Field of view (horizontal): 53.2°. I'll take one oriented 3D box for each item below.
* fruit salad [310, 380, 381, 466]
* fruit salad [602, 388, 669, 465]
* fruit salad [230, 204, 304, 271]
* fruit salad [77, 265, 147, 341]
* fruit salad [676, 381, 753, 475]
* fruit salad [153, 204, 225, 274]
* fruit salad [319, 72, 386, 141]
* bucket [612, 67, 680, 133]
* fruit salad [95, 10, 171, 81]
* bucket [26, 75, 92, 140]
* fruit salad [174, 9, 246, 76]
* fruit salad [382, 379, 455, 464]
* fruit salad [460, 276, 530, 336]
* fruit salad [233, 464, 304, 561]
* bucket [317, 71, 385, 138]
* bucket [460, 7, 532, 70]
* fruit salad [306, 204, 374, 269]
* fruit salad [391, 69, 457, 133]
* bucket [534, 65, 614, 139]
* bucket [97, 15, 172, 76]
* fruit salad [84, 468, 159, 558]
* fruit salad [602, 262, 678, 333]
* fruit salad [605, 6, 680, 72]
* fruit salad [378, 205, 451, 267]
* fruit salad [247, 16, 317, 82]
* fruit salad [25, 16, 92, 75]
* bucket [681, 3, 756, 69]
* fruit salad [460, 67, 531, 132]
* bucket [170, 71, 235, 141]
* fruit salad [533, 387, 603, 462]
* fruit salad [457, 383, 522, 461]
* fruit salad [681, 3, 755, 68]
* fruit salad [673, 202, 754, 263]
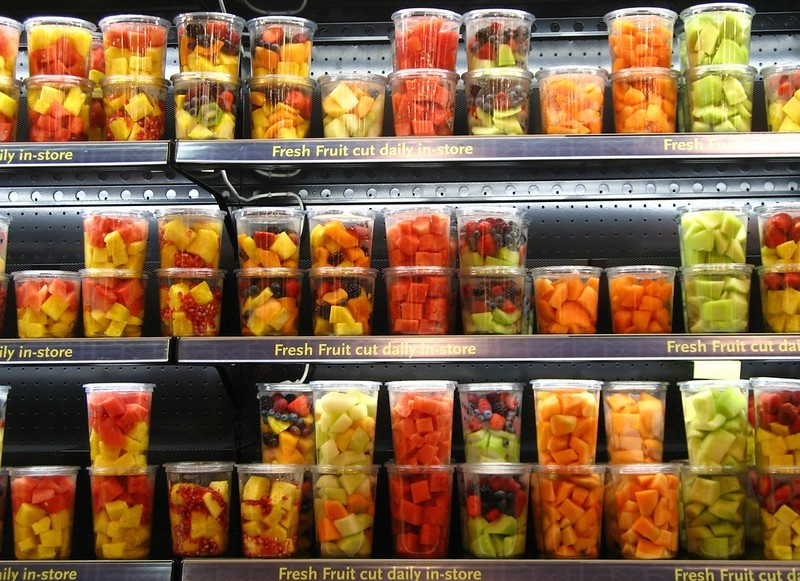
[{"bbox_3d":[-0.181,0.418,2.667,0.267,0.328,0.245,-3,-8,30],"label":"fruit salad"},{"bbox_3d":[0.820,0.454,2.786,0.218,0.311,0.201,0,-4,42],"label":"fruit salad"},{"bbox_3d":[-0.473,-0.179,2.849,0.262,0.220,0.271,-1,1,7],"label":"fruit salad"},{"bbox_3d":[-1.002,0.037,2.738,0.221,0.238,0.215,2,-2,-25],"label":"fruit salad"},{"bbox_3d":[1.066,0.448,2.719,0.254,0.324,0.225,-5,0,3],"label":"fruit salad"},{"bbox_3d":[-0.744,-0.185,2.844,0.244,0.219,0.263,3,3,14],"label":"fruit salad"},{"bbox_3d":[-0.173,-0.631,2.800,0.222,0.181,0.210,-1,-2,-8],"label":"fruit salad"},{"bbox_3d":[0.859,-0.695,2.848,0.239,0.243,0.268,1,25,16],"label":"bucket"},{"bbox_3d":[-0.964,-0.877,2.876,0.282,0.227,0.274,-5,20,-24],"label":"fruit salad"},{"bbox_3d":[-1.229,-0.629,2.887,0.228,0.255,0.236,1,2,0],"label":"bucket"},{"bbox_3d":[-0.665,-0.862,2.844,0.231,0.187,0.217,0,0,-37],"label":"fruit salad"},{"bbox_3d":[0.076,0.441,2.724,0.254,0.287,0.273,-2,-9,6],"label":"fruit salad"},{"bbox_3d":[0.317,0.038,2.827,0.259,0.236,0.297,0,0,-7],"label":"fruit salad"},{"bbox_3d":[-0.438,0.744,2.715,0.238,0.296,0.234,3,-12,-21],"label":"fruit salad"},{"bbox_3d":[-0.178,-0.676,2.870,0.261,0.236,0.302,4,19,8],"label":"bucket"},{"bbox_3d":[0.339,-0.872,2.838,0.221,0.171,0.214,0,-2,0],"label":"bucket"},{"bbox_3d":[-0.212,-0.184,2.837,0.261,0.247,0.266,-1,7,-15],"label":"fruit salad"},{"bbox_3d":[0.077,-0.649,2.860,0.280,0.244,0.301,-1,5,-19],"label":"fruit salad"},{"bbox_3d":[0.597,-0.647,2.755,0.243,0.202,0.235,0,-3,0],"label":"bucket"},{"bbox_3d":[-0.953,-0.848,2.881,0.245,0.217,0.270,-2,0,5],"label":"bucket"},{"bbox_3d":[-0.923,0.747,2.685,0.215,0.306,0.174,-7,14,-20],"label":"fruit salad"},{"bbox_3d":[0.857,0.013,2.809,0.239,0.237,0.272,7,6,12],"label":"fruit salad"},{"bbox_3d":[0.823,-0.874,2.800,0.222,0.196,0.214,0,-2,-11],"label":"fruit salad"},{"bbox_3d":[0.029,-0.174,2.812,0.266,0.214,0.243,-10,16,-6],"label":"fruit salad"},{"bbox_3d":[-0.425,-0.863,2.885,0.257,0.218,0.287,-2,12,-11],"label":"fruit salad"},{"bbox_3d":[-1.197,-0.858,2.798,0.219,0.178,0.206,-1,2,-25],"label":"fruit salad"},{"bbox_3d":[1.098,-0.881,2.838,0.218,0.207,0.235,2,-9,0],"label":"bucket"},{"bbox_3d":[0.340,-0.663,2.862,0.265,0.237,0.307,2,8,2],"label":"fruit salad"},{"bbox_3d":[-0.695,-0.654,2.863,0.268,0.240,0.294,2,11,0],"label":"bucket"},{"bbox_3d":[0.578,0.445,2.709,0.228,0.296,0.206,-5,-5,21],"label":"fruit salad"},{"bbox_3d":[0.297,0.462,2.795,0.264,0.326,0.235,0,-13,6],"label":"fruit salad"},{"bbox_3d":[1.092,-0.887,2.833,0.217,0.205,0.234,3,-9,-9],"label":"fruit salad"},{"bbox_3d":[1.063,-0.214,2.789,0.213,0.223,0.217,-4,21,-3],"label":"fruit salad"}]
